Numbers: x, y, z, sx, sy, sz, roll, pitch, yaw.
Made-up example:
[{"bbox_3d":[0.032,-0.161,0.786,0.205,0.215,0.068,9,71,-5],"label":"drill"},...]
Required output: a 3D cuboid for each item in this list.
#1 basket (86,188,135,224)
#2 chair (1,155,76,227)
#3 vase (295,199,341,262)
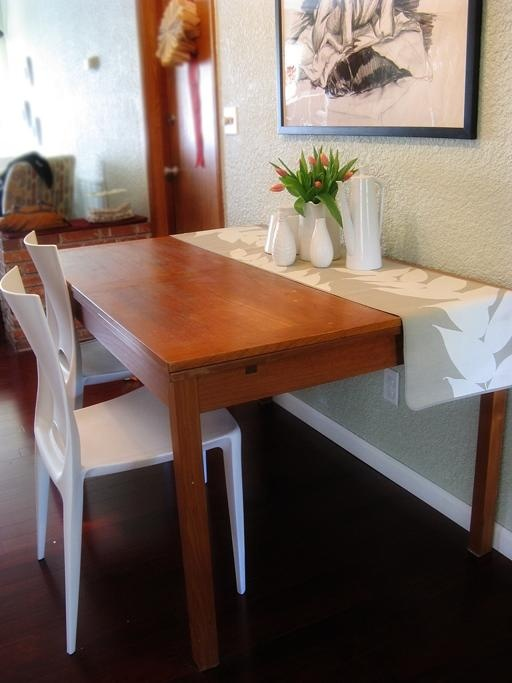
[{"bbox_3d":[-0.886,-0.803,3.185,0.227,0.168,0.205,-4,10,-21],"label":"basket"},{"bbox_3d":[-1.280,-0.876,3.092,0.370,0.392,0.354,-11,20,-40],"label":"chair"},{"bbox_3d":[0.164,-0.304,1.461,0.097,0.158,0.155,10,28,22],"label":"vase"}]
